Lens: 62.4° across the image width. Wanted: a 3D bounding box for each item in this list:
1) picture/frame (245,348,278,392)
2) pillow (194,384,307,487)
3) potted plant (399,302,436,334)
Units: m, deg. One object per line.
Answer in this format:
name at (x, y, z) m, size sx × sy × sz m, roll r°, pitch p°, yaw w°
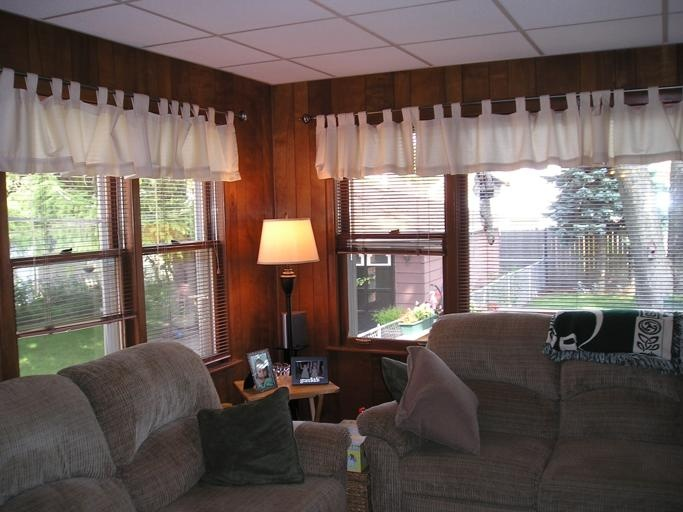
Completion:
picture/frame at (-0.595, 0.846, 4.135) m, size 0.029 × 0.378 × 0.273 m, roll -16°, pitch -1°, yaw 42°
pillow at (-0.514, 1.011, 3.129) m, size 0.444 × 0.449 × 0.159 m, roll -3°, pitch -23°, yaw -13°
potted plant at (0.622, 0.511, 4.653) m, size 0.198 × 0.117 × 0.302 m, roll -6°, pitch 5°, yaw 39°
